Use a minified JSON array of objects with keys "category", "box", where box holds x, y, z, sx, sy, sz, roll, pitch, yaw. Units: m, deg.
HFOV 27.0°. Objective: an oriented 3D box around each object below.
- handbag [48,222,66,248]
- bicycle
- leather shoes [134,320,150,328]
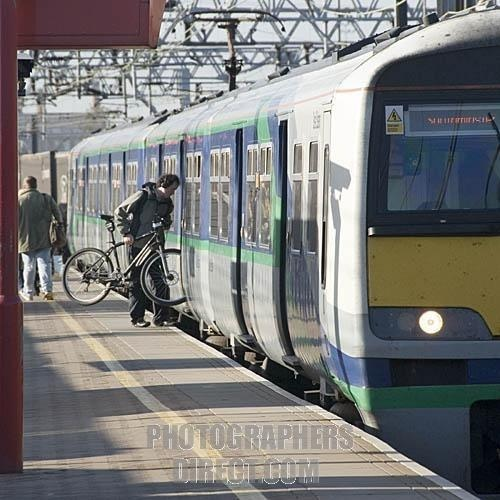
[{"category":"handbag","box":[-3.048,-0.250,16.374,0.175,0.391,0.371,-7,3,-20]},{"category":"bicycle","box":[-1.726,0.142,14.946,2.068,1.273,0.886,3,-2,-37]},{"category":"leather shoes","box":[-1.424,0.960,13.757,0.222,0.115,0.084,-2,8,-3]}]
